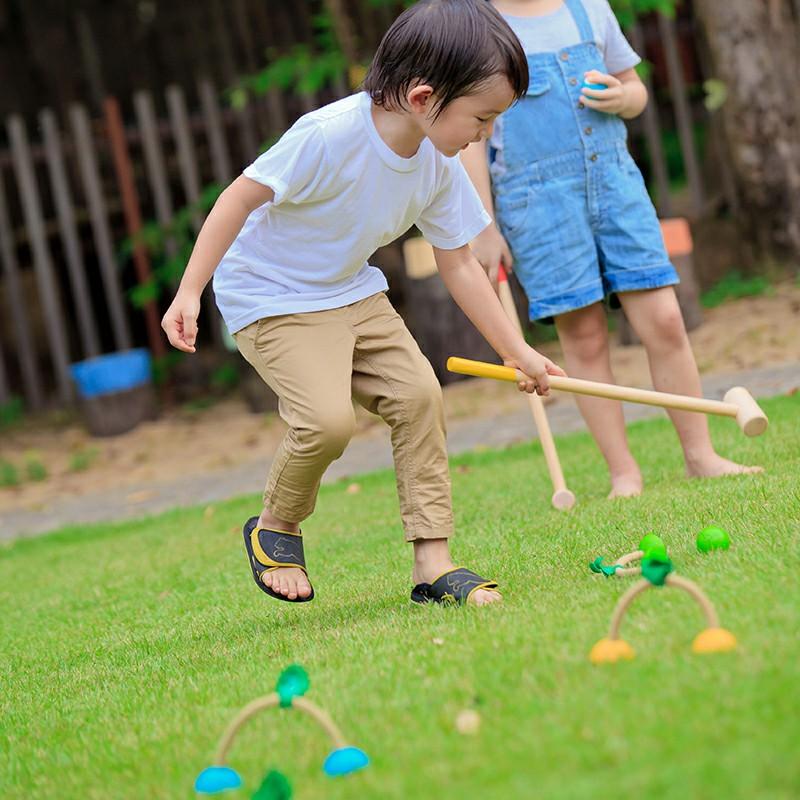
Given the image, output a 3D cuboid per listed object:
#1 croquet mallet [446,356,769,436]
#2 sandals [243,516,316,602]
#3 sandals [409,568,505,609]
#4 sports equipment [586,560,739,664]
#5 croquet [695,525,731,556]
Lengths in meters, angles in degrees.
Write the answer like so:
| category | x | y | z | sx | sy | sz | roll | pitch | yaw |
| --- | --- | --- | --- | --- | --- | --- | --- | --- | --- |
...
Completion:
| category | x | y | z | sx | sy | sz | roll | pitch | yaw |
| --- | --- | --- | --- | --- | --- | --- | --- | --- | --- |
| croquet mallet | 0.703 | -0.003 | 3.390 | 0.773 | 0.085 | 0.209 | 13 | -4 | -16 |
| sandals | -0.259 | 0.318 | 2.214 | 0.107 | 0.086 | 0.270 | 9 | 28 | -30 |
| sandals | 0.096 | 0.369 | 2.031 | 0.068 | 0.058 | 0.171 | -2 | -8 | -41 |
| sports equipment | 0.359 | 0.292 | 1.446 | 0.200 | 0.081 | 0.159 | -10 | 55 | 20 |
| croquet | 0.572 | 0.259 | 1.919 | 0.044 | 0.050 | 0.047 | -1 | 19 | 1 |
